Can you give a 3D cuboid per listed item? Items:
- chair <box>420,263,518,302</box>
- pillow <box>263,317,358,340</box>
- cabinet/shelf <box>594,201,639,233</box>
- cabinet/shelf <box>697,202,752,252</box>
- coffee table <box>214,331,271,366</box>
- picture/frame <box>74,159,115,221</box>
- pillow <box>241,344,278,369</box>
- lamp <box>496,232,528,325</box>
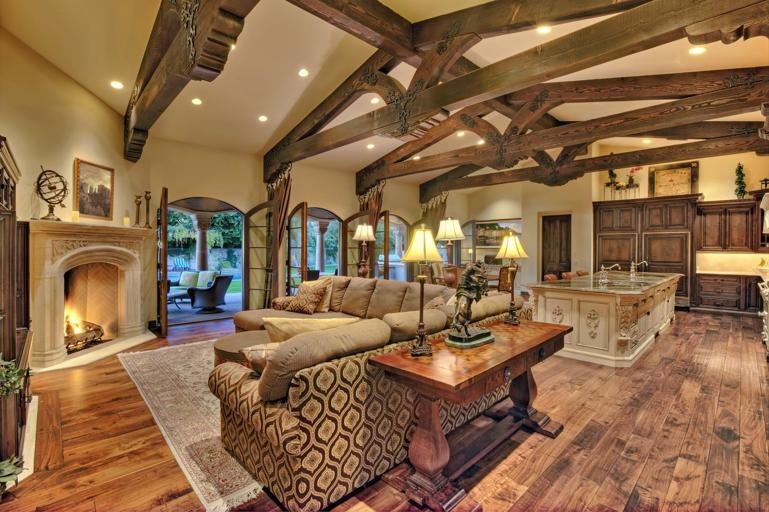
[{"bbox_3d":[1.486,0.450,9.414,1.036,0.606,1.026,-4,4,-43],"label":"chair"},{"bbox_3d":[-0.745,0.638,4.017,0.447,0.122,0.379,0,-4,-39],"label":"pillow"},{"bbox_3d":[5.103,-0.870,9.621,0.799,0.690,0.345,-1,-3,40],"label":"cabinet/shelf"},{"bbox_3d":[6.700,-0.567,8.822,1.116,0.998,0.499,-1,3,5],"label":"cabinet/shelf"},{"bbox_3d":[-1.705,1.017,5.031,0.541,0.185,0.542,3,3,27],"label":"coffee table"},{"bbox_3d":[-4.270,-0.946,6.423,0.161,0.986,0.636,-3,0,7],"label":"picture/frame"},{"bbox_3d":[-1.105,0.860,3.856,0.264,0.128,0.242,-10,39,-6],"label":"pillow"},{"bbox_3d":[1.395,0.250,4.886,0.355,0.959,0.354,-1,0,-41],"label":"lamp"}]
